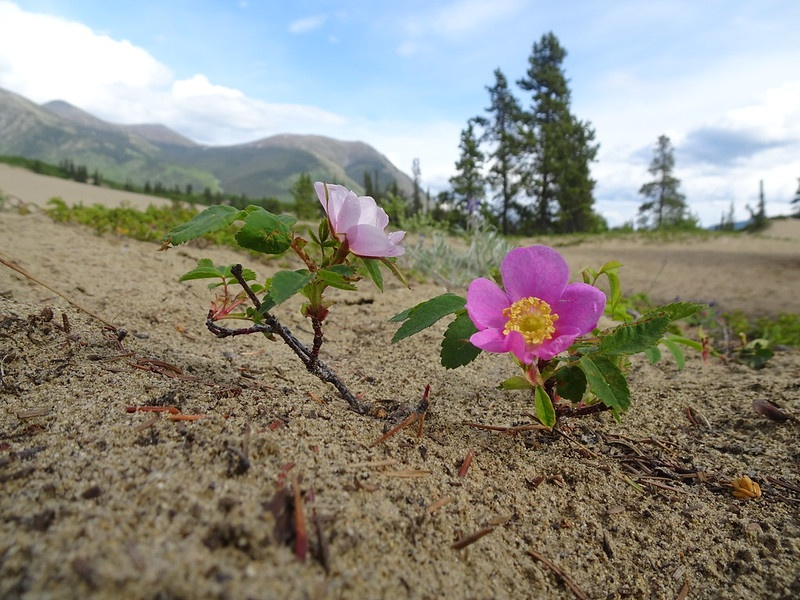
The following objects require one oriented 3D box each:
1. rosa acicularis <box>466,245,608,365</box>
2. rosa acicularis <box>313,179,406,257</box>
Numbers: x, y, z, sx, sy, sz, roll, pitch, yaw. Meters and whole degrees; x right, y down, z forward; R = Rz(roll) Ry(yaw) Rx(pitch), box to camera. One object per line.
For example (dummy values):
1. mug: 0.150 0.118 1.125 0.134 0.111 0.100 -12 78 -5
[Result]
1. rosa acicularis: 0.533 0.050 2.187 0.515 0.223 0.579 19 50 34
2. rosa acicularis: -0.156 -0.327 2.218 0.355 0.293 0.351 2 9 0
